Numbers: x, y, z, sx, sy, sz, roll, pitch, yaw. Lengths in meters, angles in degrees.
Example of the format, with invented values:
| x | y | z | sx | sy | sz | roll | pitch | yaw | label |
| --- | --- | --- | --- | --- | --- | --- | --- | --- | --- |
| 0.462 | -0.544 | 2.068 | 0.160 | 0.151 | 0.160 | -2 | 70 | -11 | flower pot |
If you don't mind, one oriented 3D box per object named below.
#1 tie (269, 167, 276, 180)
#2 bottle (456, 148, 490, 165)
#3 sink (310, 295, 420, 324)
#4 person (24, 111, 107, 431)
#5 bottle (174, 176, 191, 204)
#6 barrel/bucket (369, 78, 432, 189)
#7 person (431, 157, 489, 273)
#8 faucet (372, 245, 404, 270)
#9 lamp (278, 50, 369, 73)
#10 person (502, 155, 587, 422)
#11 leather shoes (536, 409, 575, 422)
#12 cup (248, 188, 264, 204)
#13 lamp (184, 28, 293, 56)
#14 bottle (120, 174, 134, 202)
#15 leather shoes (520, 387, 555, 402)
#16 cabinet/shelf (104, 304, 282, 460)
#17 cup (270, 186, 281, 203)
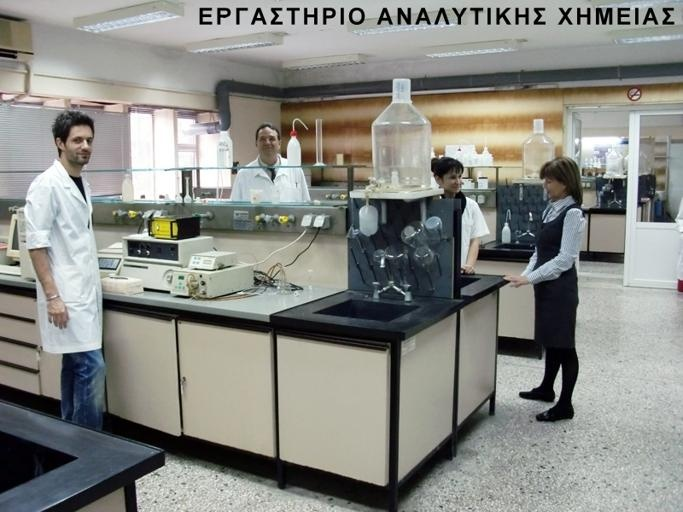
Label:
| x | y | z | sx | sy | sz | roll | pitch | yaw | label |
| --- | --- | --- | --- | --- | --- | --- | --- | --- | --- |
| -0.467 | -0.559 | 3.601 | 0.032 | 0.127 | 0.027 | -8 | 22 | -36 | tie |
| 1.603 | -1.189 | 6.394 | 0.275 | 0.187 | 0.284 | 0 | 4 | 0 | bottle |
| 0.136 | 0.325 | 2.962 | 0.564 | 0.118 | 0.316 | 1 | 11 | -3 | sink |
| -1.571 | 0.126 | 3.015 | 0.374 | 1.875 | 0.434 | -3 | 11 | -19 | person |
| -1.143 | -0.498 | 3.864 | 0.115 | 0.210 | 0.067 | -2 | 11 | -18 | bottle |
| 0.374 | -0.691 | 3.269 | 0.368 | 0.493 | 0.651 | 2 | 11 | 3 | barrel/bucket |
| 0.878 | -0.260 | 4.018 | 0.434 | 0.971 | 1.299 | 4 | 11 | 15 | person |
| 0.277 | -0.011 | 3.185 | 0.128 | 0.079 | 0.139 | 1 | 25 | 5 | faucet |
| -0.259 | -2.921 | 7.932 | 1.056 | 0.158 | 0.520 | -2 | 6 | 6 | lamp |
| 1.404 | 0.223 | 3.581 | 0.436 | 1.759 | 0.533 | 6 | 11 | 25 | person |
| 1.428 | 1.071 | 3.572 | 0.225 | 0.094 | 0.098 | 2 | 0 | 1 | leather shoes |
| -0.596 | -0.421 | 3.732 | 0.097 | 0.092 | 0.103 | 0 | -1 | 0 | cup |
| -1.252 | -2.740 | 6.890 | 1.401 | 0.254 | 0.146 | -1 | 13 | 24 | lamp |
| -1.683 | -0.545 | 4.167 | 0.075 | 0.216 | 0.109 | -5 | 12 | -32 | bottle |
| 1.443 | 1.018 | 3.945 | 0.262 | 0.111 | 0.100 | 4 | 5 | 25 | leather shoes |
| -0.837 | 0.668 | 3.298 | 1.186 | 0.712 | 0.594 | 4 | 8 | 22 | cabinet/shelf |
| -0.458 | -0.431 | 3.645 | 0.063 | 0.108 | 0.050 | 2 | 10 | 6 | cup |
